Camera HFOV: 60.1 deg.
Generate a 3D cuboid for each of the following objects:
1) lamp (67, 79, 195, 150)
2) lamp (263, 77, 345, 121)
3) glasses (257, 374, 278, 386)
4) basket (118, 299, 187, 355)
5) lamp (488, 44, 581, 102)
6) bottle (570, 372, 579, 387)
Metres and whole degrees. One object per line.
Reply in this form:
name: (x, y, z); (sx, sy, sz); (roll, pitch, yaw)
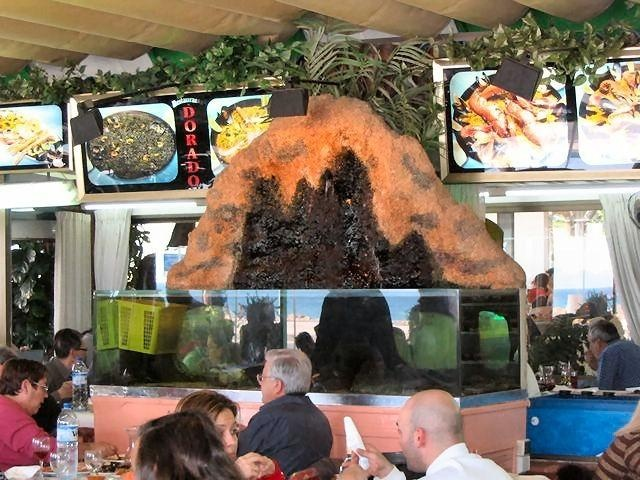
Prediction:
lamp: (-2.090, -1.298, 5.623); (0.974, 0.649, 0.402); (-3, -6, 13)
lamp: (-0.229, -1.189, 4.543); (0.344, 0.267, 0.508); (7, 17, 5)
glasses: (-0.366, 0.951, 3.799); (0.152, 0.048, 0.144); (4, -4, 2)
basket: (-1.404, 0.711, 4.582); (0.573, 0.381, 0.393); (-1, -5, 27)
lamp: (1.835, -1.433, 4.666); (0.559, 0.558, 0.135); (26, 7, 27)
bottle: (2.928, 1.629, 6.385); (0.074, 0.150, 0.460); (-4, -6, 25)
